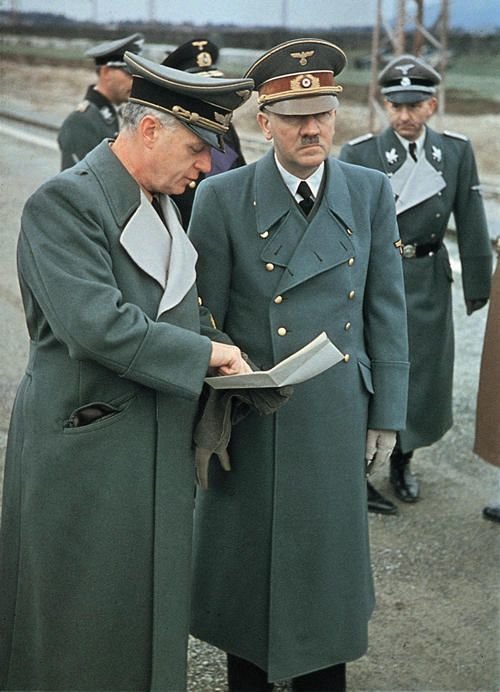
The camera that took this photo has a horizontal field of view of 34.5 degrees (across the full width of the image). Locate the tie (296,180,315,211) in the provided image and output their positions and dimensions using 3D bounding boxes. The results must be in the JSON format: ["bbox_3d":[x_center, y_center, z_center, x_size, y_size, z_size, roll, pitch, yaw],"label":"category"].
[{"bbox_3d":[0.153,-0.410,2.252,0.034,0.096,0.027,-7,-8,6],"label":"tie"}]

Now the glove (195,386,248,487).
[{"bbox_3d":[-0.114,0.237,2.076,0.083,0.230,0.175,18,-9,-37],"label":"glove"}]

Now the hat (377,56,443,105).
[{"bbox_3d":[0.772,-1.277,3.876,0.329,0.183,0.340,-1,19,8],"label":"hat"}]

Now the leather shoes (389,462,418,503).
[{"bbox_3d":[0.731,0.652,3.812,0.090,0.140,0.236,-11,12,-14],"label":"leather shoes"}]

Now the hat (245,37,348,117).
[{"bbox_3d":[0.135,-0.738,2.240,0.303,0.149,0.295,-5,17,-2],"label":"hat"}]

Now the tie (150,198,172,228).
[{"bbox_3d":[-0.221,-0.334,2.038,0.065,0.070,0.028,-16,8,2],"label":"tie"}]

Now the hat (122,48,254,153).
[{"bbox_3d":[-0.142,-0.608,1.961,0.327,0.157,0.278,26,24,8],"label":"hat"}]

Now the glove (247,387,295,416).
[{"bbox_3d":[0.048,0.140,2.031,0.105,0.078,0.031,-1,59,29],"label":"glove"}]
